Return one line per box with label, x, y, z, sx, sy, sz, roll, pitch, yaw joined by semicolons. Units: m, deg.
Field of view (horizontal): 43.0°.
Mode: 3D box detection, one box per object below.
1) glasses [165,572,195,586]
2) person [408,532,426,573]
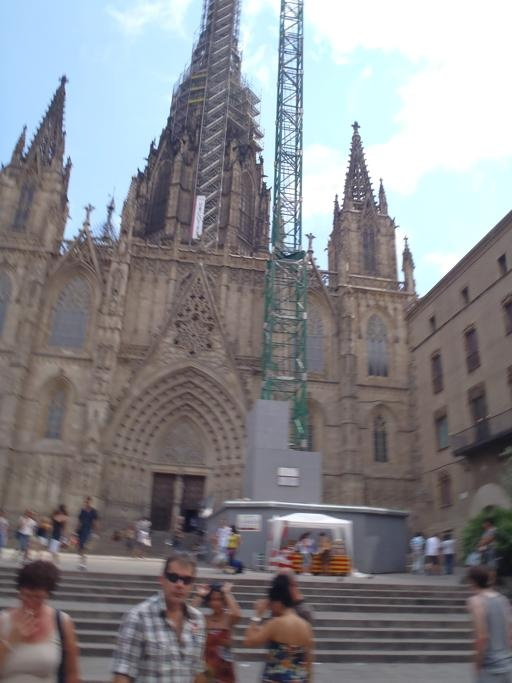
glasses;-0.341;1.060;2.911;0.075;0.025;0.076;15;-51;-10
person;4.464;5.825;17.930;0.330;1.060;1.055;-3;-23;16
